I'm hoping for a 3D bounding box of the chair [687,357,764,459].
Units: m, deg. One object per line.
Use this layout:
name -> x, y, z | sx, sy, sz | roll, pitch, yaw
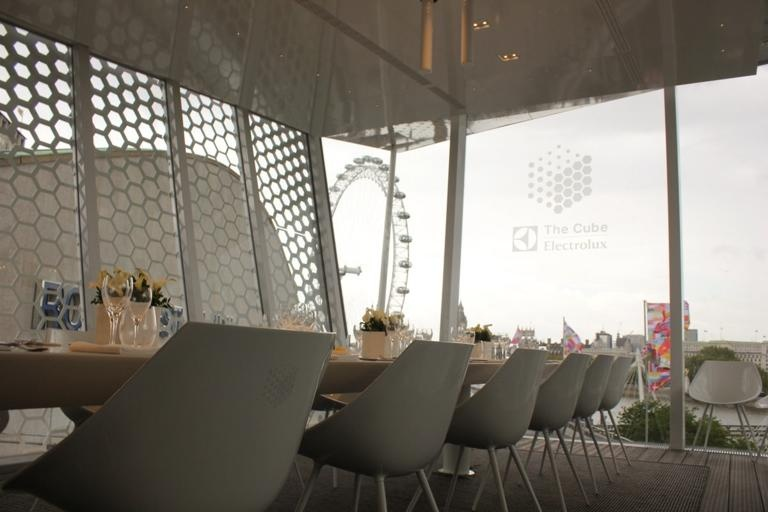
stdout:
chair -> 3.150, 1.496, 5.243 | 0.681, 1.136, 0.753 | -5, -24, 30
